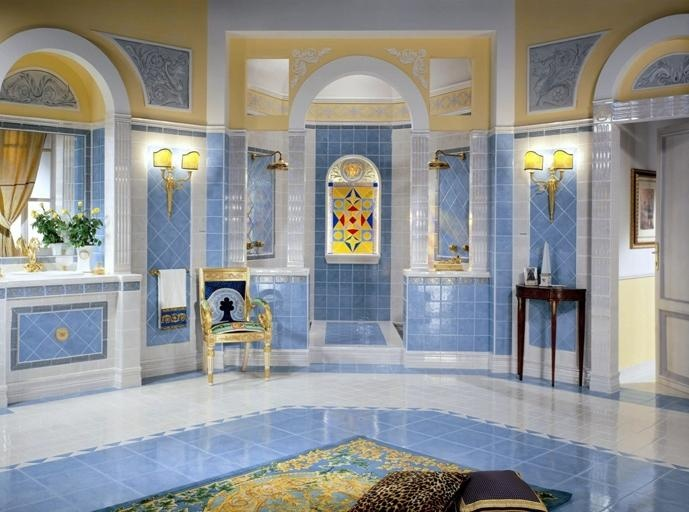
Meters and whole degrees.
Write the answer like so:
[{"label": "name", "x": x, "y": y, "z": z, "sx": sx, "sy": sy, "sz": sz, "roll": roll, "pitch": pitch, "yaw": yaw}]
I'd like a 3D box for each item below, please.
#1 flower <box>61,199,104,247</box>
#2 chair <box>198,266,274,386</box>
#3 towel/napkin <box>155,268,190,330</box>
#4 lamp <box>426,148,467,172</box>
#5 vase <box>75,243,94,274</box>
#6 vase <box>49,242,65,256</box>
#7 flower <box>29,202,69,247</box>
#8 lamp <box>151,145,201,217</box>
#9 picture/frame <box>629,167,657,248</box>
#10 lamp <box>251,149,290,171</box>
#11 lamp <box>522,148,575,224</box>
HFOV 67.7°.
[{"label": "flower", "x": -3.318, "y": -0.391, "z": 6.517, "sx": 0.423, "sy": 0.583, "sz": 0.502, "roll": -2, "pitch": 5, "yaw": -37}, {"label": "chair", "x": -1.441, "y": 0.868, "z": 6.759, "sx": 0.935, "sy": 1.394, "sz": 0.977, "roll": 1, "pitch": 0, "yaw": -14}, {"label": "towel/napkin", "x": -2.303, "y": 0.580, "z": 6.896, "sx": 0.413, "sy": 0.768, "sz": 0.080, "roll": -2, "pitch": 5, "yaw": -37}, {"label": "lamp", "x": 1.558, "y": -1.577, "z": 8.368, "sx": 0.750, "sy": 0.358, "sz": 0.378, "roll": 1, "pitch": 1, "yaw": -33}, {"label": "vase", "x": -3.317, "y": 0.037, "z": 6.548, "sx": 0.291, "sy": 0.420, "sz": 0.288, "roll": 1, "pitch": -2, "yaw": -43}, {"label": "vase", "x": -3.677, "y": -0.071, "z": 6.598, "sx": 0.147, "sy": 0.143, "sz": 0.149, "roll": -1, "pitch": 1, "yaw": 11}, {"label": "flower", "x": -3.691, "y": -0.390, "z": 6.504, "sx": 0.309, "sy": 0.376, "sz": 0.282, "roll": -8, "pitch": 1, "yaw": 13}, {"label": "lamp", "x": -2.234, "y": -0.958, "z": 6.824, "sx": 0.589, "sy": 0.907, "sz": 0.298, "roll": -1, "pitch": 4, "yaw": -26}, {"label": "picture/frame", "x": 3.841, "y": -0.630, "z": 6.673, "sx": 0.083, "sy": 1.136, "sz": 1.063, "roll": 0, "pitch": 1, "yaw": 39}, {"label": "lamp", "x": -1.163, "y": -1.609, "z": 8.525, "sx": 0.388, "sy": 0.299, "sz": 0.708, "roll": -3, "pitch": 4, "yaw": -44}, {"label": "lamp", "x": 2.647, "y": -0.913, "z": 6.772, "sx": 0.632, "sy": 0.930, "sz": 0.300, "roll": 3, "pitch": 4, "yaw": 28}]
